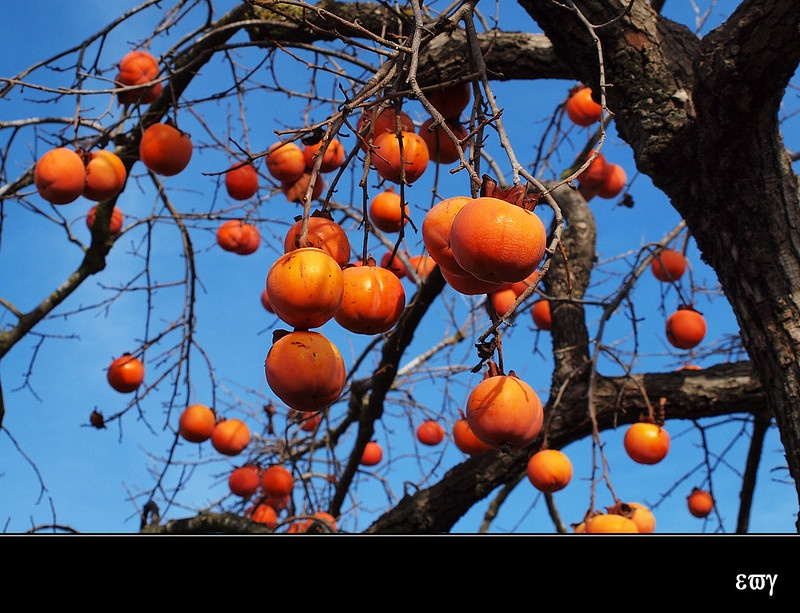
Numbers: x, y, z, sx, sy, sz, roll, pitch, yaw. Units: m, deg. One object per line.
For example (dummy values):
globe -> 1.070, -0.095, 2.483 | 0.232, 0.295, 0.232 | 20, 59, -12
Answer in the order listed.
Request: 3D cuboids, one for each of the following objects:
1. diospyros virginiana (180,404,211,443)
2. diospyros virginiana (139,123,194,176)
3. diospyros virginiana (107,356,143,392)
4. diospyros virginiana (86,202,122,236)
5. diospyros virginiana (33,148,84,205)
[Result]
diospyros virginiana -> -1.247, 0.718, 7.106 | 0.219, 0.239, 0.146 | 5, -12, -12
diospyros virginiana -> -1.281, -0.863, 6.289 | 0.293, 0.318, 0.306 | 1, 9, 3
diospyros virginiana -> -1.688, 0.410, 7.086 | 0.212, 0.280, 0.225 | 4, 5, -13
diospyros virginiana -> -1.812, -0.524, 7.108 | 0.203, 0.216, 0.366 | 6, -13, -18
diospyros virginiana -> -1.757, -0.658, 5.967 | 0.245, 0.335, 0.266 | -6, -13, 7
